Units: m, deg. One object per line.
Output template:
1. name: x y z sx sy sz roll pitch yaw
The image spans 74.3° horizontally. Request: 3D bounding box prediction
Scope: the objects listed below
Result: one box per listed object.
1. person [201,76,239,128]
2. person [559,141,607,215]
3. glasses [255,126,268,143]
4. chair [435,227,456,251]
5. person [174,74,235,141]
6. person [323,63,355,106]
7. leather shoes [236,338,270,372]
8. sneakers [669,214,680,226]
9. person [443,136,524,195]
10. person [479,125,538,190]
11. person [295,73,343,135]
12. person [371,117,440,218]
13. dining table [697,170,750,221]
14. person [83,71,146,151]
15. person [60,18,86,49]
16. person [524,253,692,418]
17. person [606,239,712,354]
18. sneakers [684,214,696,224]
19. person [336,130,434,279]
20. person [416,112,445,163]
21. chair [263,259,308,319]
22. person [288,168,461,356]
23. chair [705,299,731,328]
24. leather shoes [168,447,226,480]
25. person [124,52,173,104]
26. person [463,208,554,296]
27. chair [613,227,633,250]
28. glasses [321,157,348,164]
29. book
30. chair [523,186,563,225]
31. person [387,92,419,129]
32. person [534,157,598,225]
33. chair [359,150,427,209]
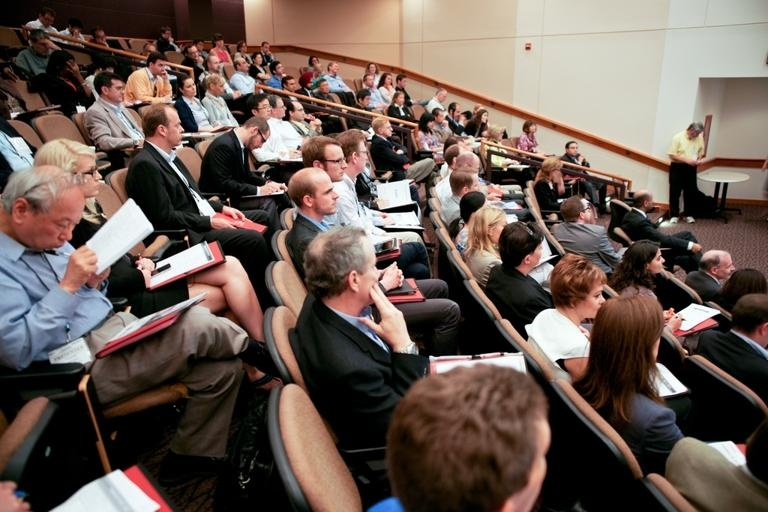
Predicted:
1. person: -2.081 -1.890 6.446 0.414 0.802 0.484 11 21 15
2. person: 3.248 -1.263 8.146 0.566 1.155 0.719 -6 3 -40
3. glasses: -1.134 -1.125 4.699 0.035 0.109 0.098 30 -5 -35
4. chair: 0.477 -0.101 3.990 0.171 0.228 0.167 1 29 4
5. person: -2.176 -1.753 6.023 0.595 0.740 0.472 10 26 25
6. person: -0.840 -3.225 9.812 0.585 1.067 0.434 6 15 33
7. leather shoes: -0.697 0.520 2.673 0.095 0.131 0.381 -21 -17 13
8. sneakers: 4.720 -0.575 8.192 0.208 0.080 0.160 -16 0 43
9. person: 1.311 -1.354 7.485 0.796 0.874 0.737 -20 14 -31
10. person: 1.818 -1.465 7.715 0.930 1.286 0.918 5 23 18
11. person: -1.150 -2.498 8.621 0.737 1.496 0.594 14 63 -3
12. person: 0.255 -1.109 6.481 0.705 1.360 0.486 -11 11 3
13. dining table: 5.851 -1.023 8.630 0.653 0.517 0.659 15 36 32
14. person: -2.560 -1.392 4.865 0.515 0.687 0.749 8 23 -4
15. person: -4.984 -3.580 8.067 0.259 0.467 1.443 -10 23 -28
16. person: 1.279 0.574 3.024 0.677 1.253 0.566 -12 21 2
17. person: 1.962 0.274 3.580 0.478 0.755 0.439 -8 29 3
18. sneakers: 4.955 -0.594 8.157 0.110 0.090 0.216 -7 7 3
19. person: -0.050 -0.274 4.271 0.750 1.458 0.491 -5 12 0
20. person: 0.746 -1.819 7.812 0.420 0.758 0.494 9 19 39
21. chair: -0.517 0.172 2.710 0.194 0.312 0.210 -4 36 9
22. person: -0.015 0.194 3.465 1.098 1.690 0.668 -8 9 4
23. chair: 2.512 0.436 3.784 0.154 0.167 0.117 -12 24 -24
24. leather shoes: -0.965 1.054 2.607 0.344 0.158 0.122 -3 13 -11
25. person: -3.024 -2.211 6.485 0.570 0.759 0.578 5 20 -14
26. person: 0.933 0.140 3.831 0.548 1.070 0.458 -9 20 -4
27. chair: 2.675 -0.209 5.628 0.189 0.172 0.153 -22 39 12
28. glasses: -0.390 -0.750 3.987 0.175 0.042 0.049 -10 22 -28
29. book: -1.487 -0.096 2.819 0.495 0.054 0.287 -46 50 -2
30. chair: 1.856 -0.584 5.912 0.388 0.628 0.355 0 36 10
31. person: 0.361 -2.400 8.674 0.531 0.858 0.583 -3 17 13
32. person: 2.281 -0.646 6.485 0.560 1.153 0.638 6 14 38
33. chair: 0.112 -0.601 5.249 0.646 0.842 0.647 0 39 6
